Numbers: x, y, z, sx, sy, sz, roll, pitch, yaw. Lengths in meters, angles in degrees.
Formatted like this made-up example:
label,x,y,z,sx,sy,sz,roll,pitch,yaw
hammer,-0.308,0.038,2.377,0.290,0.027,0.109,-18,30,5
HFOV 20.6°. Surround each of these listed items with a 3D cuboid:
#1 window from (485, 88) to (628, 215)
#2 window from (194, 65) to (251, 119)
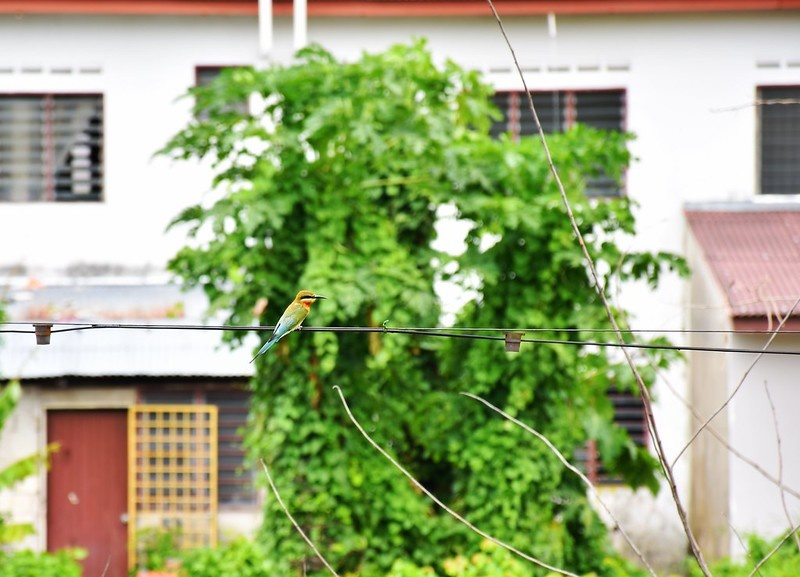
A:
label,x,y,z,sx,sy,sz,roll,pitch,yaw
window,2.455,-2.280,33.065,2.272,1.551,0.093,-3,12,-31
window,-2.547,-3.056,32.052,0.844,0.886,0.213,0,-1,3
